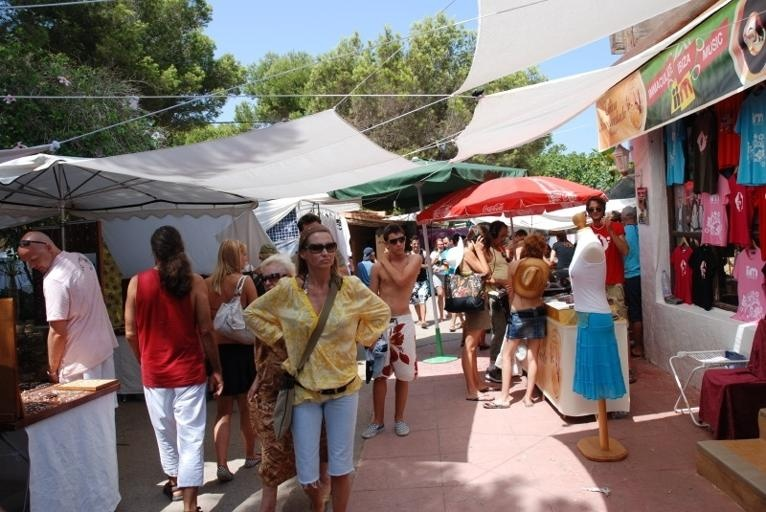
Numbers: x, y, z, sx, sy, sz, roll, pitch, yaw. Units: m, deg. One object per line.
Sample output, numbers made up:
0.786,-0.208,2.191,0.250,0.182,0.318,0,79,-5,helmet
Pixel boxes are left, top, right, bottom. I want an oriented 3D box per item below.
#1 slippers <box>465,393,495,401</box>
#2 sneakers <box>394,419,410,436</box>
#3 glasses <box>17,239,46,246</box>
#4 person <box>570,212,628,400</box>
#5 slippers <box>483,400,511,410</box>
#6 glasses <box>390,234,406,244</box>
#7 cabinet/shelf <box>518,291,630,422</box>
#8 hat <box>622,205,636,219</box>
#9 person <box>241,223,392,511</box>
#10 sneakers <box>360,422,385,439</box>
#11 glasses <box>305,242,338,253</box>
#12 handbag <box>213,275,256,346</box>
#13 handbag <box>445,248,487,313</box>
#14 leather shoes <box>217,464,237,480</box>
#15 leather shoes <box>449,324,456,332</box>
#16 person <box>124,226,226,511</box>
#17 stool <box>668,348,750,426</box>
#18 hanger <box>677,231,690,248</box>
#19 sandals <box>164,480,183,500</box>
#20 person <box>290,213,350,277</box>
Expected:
1.332,1.946,7.706,0.269,0.091,0.157,-1,-3,7,slippers
0.220,2.122,6.890,0.134,0.120,0.279,-1,-9,0,sneakers
-3.677,-0.139,5.796,0.269,0.081,0.119,-4,11,6,glasses
2.313,0.697,6.153,0.477,2.125,0.608,-9,12,-21,person
1.500,1.962,7.372,0.246,0.075,0.145,2,-6,11,slippers
0.185,-0.199,6.828,0.103,0.091,0.233,4,14,40,glasses
2.688,1.331,7.595,0.975,1.293,1.877,-2,-1,2,cabinet/shelf
3.981,-0.721,9.063,0.156,0.208,0.201,-6,15,-35,hat
-0.536,1.007,4.995,1.182,2.539,0.500,-8,12,-18,person
-0.134,2.153,6.906,0.115,0.117,0.320,-9,-8,38,sneakers
-0.556,-0.075,4.939,0.283,0.097,0.097,-7,11,-12,glasses
-1.643,0.569,6.222,0.478,0.676,0.337,4,6,8,handbag
1.125,0.516,7.752,0.554,0.463,0.346,-3,11,8,handbag
-1.741,2.406,6.155,0.098,0.261,0.093,-6,45,3,leather shoes
1.511,1.599,12.174,0.074,0.140,0.226,-3,-24,-2,leather shoes
-2.059,1.105,5.703,0.730,2.772,0.873,-13,13,-35,person
3.875,1.553,6.849,0.837,0.729,0.853,0,-5,-4,stool
4.369,-0.249,8.130,0.016,0.238,0.208,-28,32,-18,hanger
-2.235,2.488,5.924,0.120,0.129,0.320,3,-5,-27,sandals
-0.808,-0.186,7.186,0.222,0.895,0.879,-4,3,-32,person
